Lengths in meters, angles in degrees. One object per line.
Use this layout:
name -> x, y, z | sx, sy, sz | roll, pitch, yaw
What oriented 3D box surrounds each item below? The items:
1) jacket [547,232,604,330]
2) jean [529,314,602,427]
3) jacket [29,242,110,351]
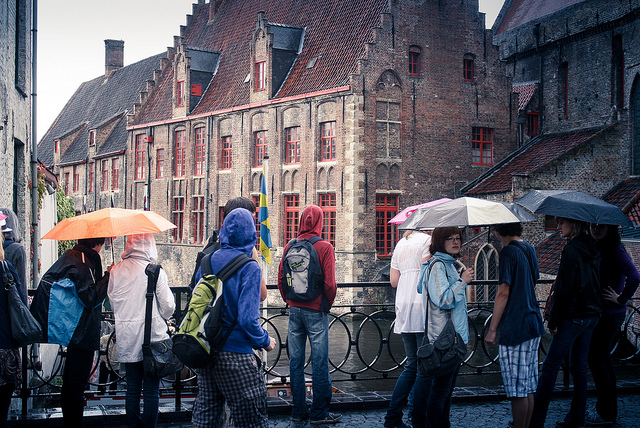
jacket -> 5.925, 1.544, 26.588 | 1.192, 2.234, 0.518 | -2, -9, 6
jean -> 5.774, 3.658, 26.758 | 1.618, 2.585, 0.826 | -2, -9, 5
jacket -> -5.851, 1.846, 26.508 | 1.882, 2.263, 2.039 | 12, -6, -34
